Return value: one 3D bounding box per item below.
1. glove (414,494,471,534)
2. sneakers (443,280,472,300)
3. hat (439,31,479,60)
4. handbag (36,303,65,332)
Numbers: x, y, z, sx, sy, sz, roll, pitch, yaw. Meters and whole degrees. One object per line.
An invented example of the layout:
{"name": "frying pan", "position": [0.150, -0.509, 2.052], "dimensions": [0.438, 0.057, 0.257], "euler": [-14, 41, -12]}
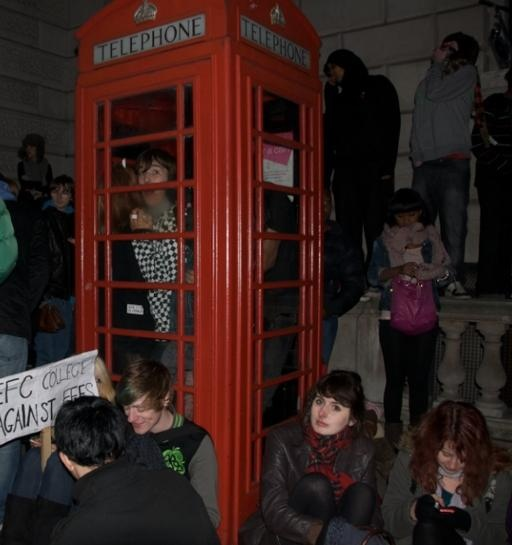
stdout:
{"name": "glove", "position": [0.796, 1.009, 2.628], "dimensions": [0.187, 0.079, 0.145], "euler": [3, -5, 4]}
{"name": "sneakers", "position": [1.460, 0.134, 4.524], "dimensions": [0.261, 0.196, 0.098], "euler": [3, 4, 23]}
{"name": "hat", "position": [1.476, -1.629, 4.496], "dimensions": [0.239, 0.208, 0.166], "euler": [31, 27, 19]}
{"name": "handbag", "position": [-1.533, 0.333, 4.578], "dimensions": [0.229, 0.288, 0.153], "euler": [-9, -12, 31]}
